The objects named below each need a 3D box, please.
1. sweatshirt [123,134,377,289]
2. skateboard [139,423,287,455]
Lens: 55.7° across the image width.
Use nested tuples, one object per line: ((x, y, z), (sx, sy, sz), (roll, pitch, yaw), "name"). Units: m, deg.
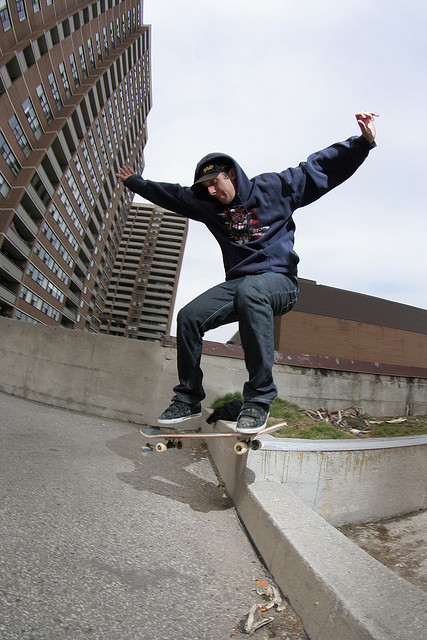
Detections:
((0.260, -0.841, 3.023), (1.717, 1.159, 0.429), (4, -4, 14), "sweatshirt")
((-0.069, 0.715, 2.446), (1.187, 0.199, 0.336), (-3, -17, 15), "skateboard")
